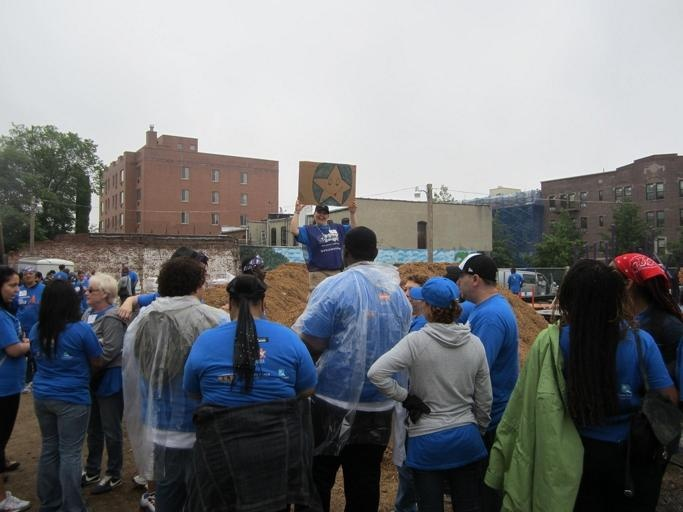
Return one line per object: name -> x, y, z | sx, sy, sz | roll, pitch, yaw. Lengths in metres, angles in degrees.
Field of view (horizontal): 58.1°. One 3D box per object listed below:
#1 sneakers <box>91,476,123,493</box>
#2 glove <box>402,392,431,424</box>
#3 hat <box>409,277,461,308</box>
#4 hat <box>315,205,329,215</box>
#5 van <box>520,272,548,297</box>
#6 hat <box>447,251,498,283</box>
sneakers -> -2.575, 2.512, 6.753 | 0.111, 0.139, 0.323 | 3, -9, 33
glove -> 0.593, 1.229, 4.913 | 0.198, 0.210, 0.089 | 35, -2, 10
hat -> 0.751, 0.277, 5.034 | 0.310, 0.180, 0.226 | 9, 24, 38
hat -> -0.249, -0.591, 7.676 | 0.168, 0.113, 0.313 | 0, -1, -4
van -> 9.355, 1.388, 30.303 | 1.975, 1.199, 1.239 | -5, 5, -44
hat -> 1.235, 0.096, 5.686 | 0.323, 0.222, 0.243 | 5, -2, 22
